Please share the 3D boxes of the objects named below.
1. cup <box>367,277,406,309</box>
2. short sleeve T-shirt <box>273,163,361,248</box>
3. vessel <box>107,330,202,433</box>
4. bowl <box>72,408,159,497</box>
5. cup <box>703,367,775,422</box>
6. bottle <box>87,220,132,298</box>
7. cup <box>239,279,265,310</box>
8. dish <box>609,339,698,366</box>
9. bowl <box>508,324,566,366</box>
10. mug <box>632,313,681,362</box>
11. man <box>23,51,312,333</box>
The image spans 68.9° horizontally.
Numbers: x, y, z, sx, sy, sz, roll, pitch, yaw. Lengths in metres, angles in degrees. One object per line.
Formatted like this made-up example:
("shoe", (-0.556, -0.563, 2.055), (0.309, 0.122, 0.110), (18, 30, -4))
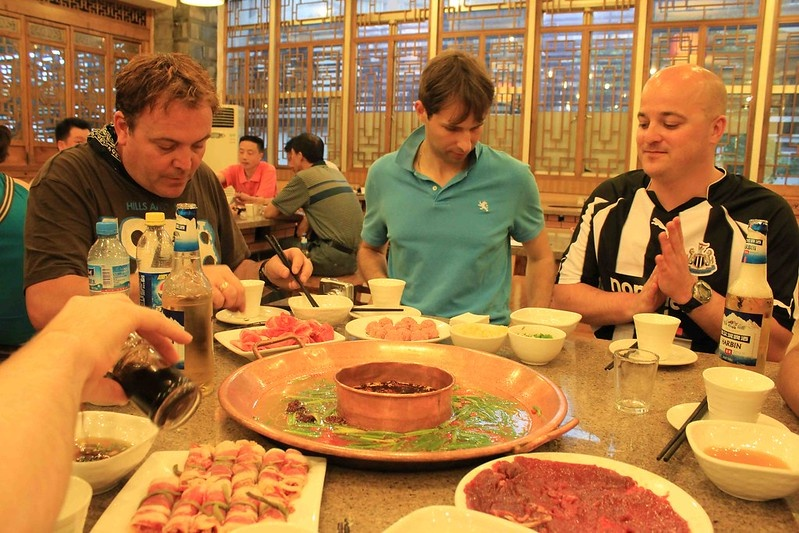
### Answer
("cup", (-0.059, 0.105, 2.471), (0.124, 0.093, 0.127), (1, 6, 0))
("short sleeve T-shirt", (-0.808, -0.595, 5.786), (0.905, 0.743, 0.701), (14, 13, 28))
("vessel", (-0.567, 0.268, 1.326), (0.087, 0.081, 0.289), (-4, 21, -44))
("bowl", (-0.680, 0.415, 1.383), (0.189, 0.085, 0.216), (1, 12, -5))
("cup", (0.920, 0.362, 1.590), (0.166, 0.120, 0.163), (-3, 9, 1))
("bottle", (-0.835, -0.024, 1.660), (0.108, 0.230, 0.244), (-7, 16, -26))
("cup", (-0.564, 0.112, 2.263), (0.100, 0.105, 0.104), (0, 1, 0))
("dish", (0.956, 0.311, 2.075), (0.192, 0.028, 0.192), (-3, 7, -2))
("bowl", (0.464, 0.259, 1.980), (0.150, 0.081, 0.151), (0, 5, 0))
("mug", (0.872, 0.239, 2.012), (0.151, 0.131, 0.158), (0, 1, -4))
("man", (-0.986, -0.108, 2.506), (0.942, 1.406, 1.041), (11, 15, 38))
